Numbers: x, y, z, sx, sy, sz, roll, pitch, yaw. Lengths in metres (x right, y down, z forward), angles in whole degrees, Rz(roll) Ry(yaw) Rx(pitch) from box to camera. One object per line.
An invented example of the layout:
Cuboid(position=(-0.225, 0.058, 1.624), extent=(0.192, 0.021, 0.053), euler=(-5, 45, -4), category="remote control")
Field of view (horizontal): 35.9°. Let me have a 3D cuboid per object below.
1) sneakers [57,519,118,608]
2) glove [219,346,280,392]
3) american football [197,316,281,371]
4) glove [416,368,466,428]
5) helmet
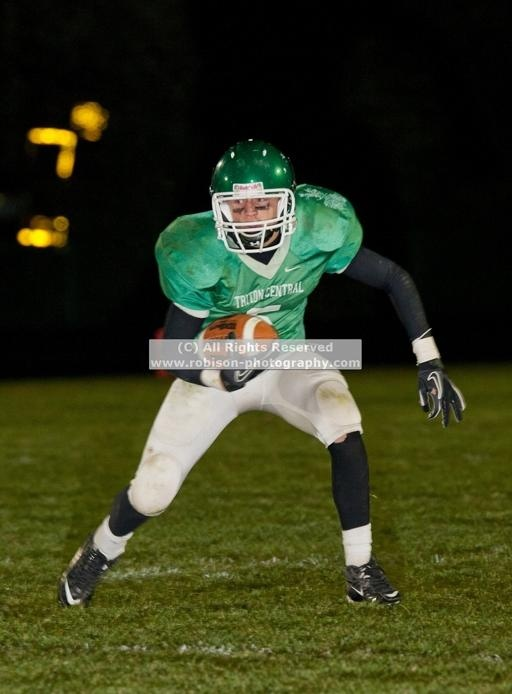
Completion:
Cuboid(position=(-0.459, 0.597, 2.197), extent=(0.125, 0.080, 0.245), euler=(-18, 22, 18), category="sneakers")
Cuboid(position=(-0.024, 0.056, 2.138), extent=(0.161, 0.053, 0.097), euler=(-25, 10, -38), category="glove")
Cuboid(position=(-0.042, -0.047, 2.149), extent=(0.189, 0.117, 0.138), euler=(4, 21, 40), category="american football")
Cuboid(position=(0.516, 0.146, 2.225), extent=(0.147, 0.166, 0.070), euler=(-12, 16, 41), category="glove")
Cuboid(position=(0.005, -0.417, 2.238), extent=(0.306, 0.280, 0.333), euler=(-2, 38, 5), category="helmet")
